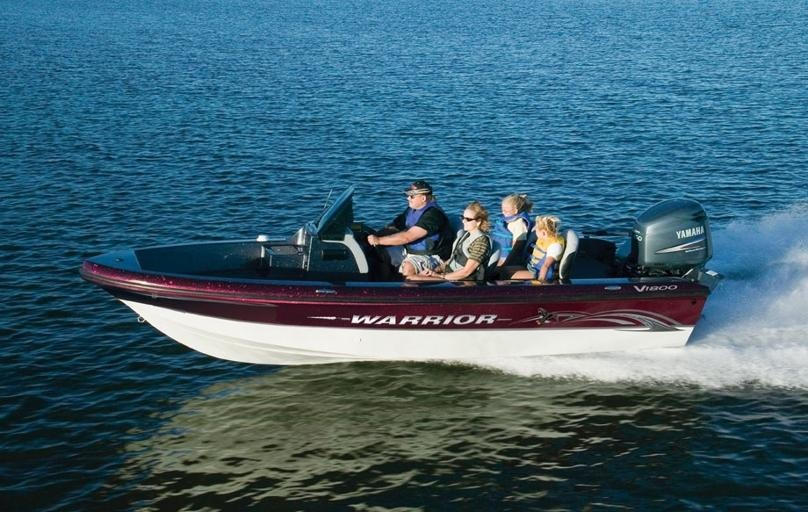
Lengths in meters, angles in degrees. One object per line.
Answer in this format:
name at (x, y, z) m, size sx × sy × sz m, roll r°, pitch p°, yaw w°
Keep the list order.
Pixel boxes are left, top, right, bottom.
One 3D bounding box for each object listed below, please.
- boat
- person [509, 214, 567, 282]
boat at (-1.954, 0.438, 14.884) m, size 15.457 × 2.188 × 3.152 m, roll 0°, pitch 15°, yaw -4°
person at (2.274, -0.106, 14.099) m, size 1.465 × 1.010 × 1.196 m, roll 7°, pitch 25°, yaw 9°
